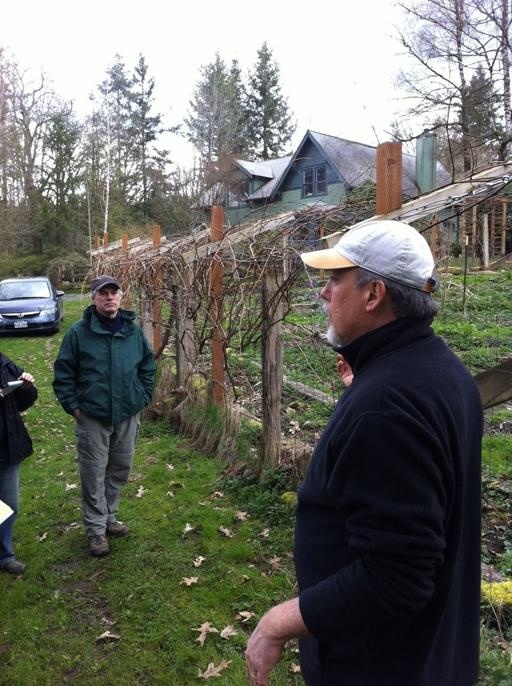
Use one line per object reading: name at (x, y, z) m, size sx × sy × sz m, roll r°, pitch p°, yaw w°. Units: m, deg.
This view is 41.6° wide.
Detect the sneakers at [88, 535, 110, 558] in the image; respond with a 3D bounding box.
sneakers at (-1.117, 1.417, 4.765) m, size 0.145 × 0.112 × 0.235 m, roll -5°, pitch 11°, yaw -15°

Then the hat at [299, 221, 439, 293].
hat at (0.352, -0.245, 2.074) m, size 0.334 × 0.145 × 0.227 m, roll 10°, pitch 6°, yaw 17°

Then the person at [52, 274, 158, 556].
person at (-1.117, 0.486, 4.916) m, size 0.459 × 1.917 × 0.849 m, roll 4°, pitch 13°, yaw 27°

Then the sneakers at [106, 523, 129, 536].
sneakers at (-1.035, 1.387, 5.012) m, size 0.194 × 0.080 × 0.073 m, roll -2°, pitch -1°, yaw 41°
